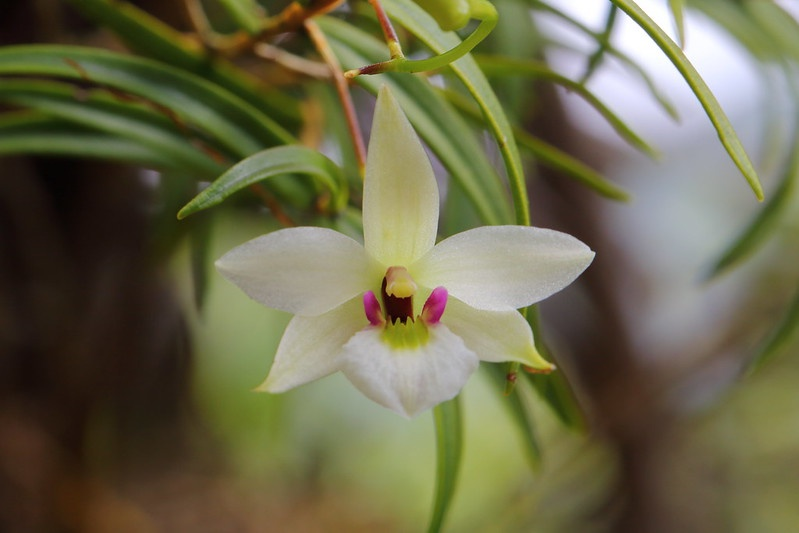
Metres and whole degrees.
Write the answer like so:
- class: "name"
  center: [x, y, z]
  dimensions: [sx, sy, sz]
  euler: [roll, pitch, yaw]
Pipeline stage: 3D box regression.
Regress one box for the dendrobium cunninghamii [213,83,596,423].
- class: "dendrobium cunninghamii"
  center: [-0.010, -0.005, 1.065]
  dimensions: [0.468, 0.477, 0.106]
  euler: [-1, -1, -5]
